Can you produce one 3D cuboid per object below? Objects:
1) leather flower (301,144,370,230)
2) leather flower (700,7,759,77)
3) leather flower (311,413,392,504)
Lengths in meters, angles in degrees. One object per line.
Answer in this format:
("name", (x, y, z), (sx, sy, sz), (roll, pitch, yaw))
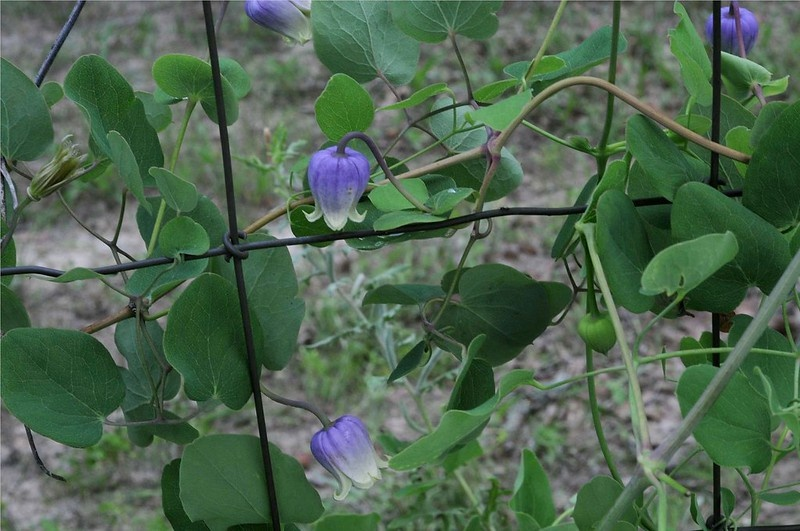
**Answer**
("leather flower", (-0.119, -0.147, 1.644), (0.112, 0.153, 0.108), (-13, 38, -25))
("leather flower", (0.696, -0.465, 1.808), (0.125, 0.149, 0.130), (4, 28, 9))
("leather flower", (-0.097, 0.363, 1.638), (0.098, 0.105, 0.111), (-22, 45, -20))
